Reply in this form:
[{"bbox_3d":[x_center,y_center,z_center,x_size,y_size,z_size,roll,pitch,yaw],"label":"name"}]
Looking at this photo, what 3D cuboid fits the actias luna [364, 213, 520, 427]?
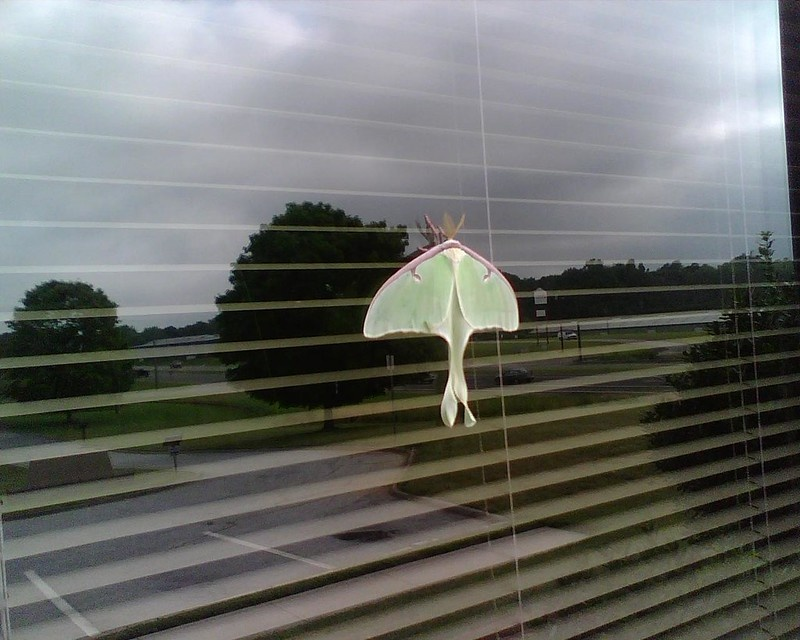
[{"bbox_3d":[0.116,-0.005,1.663,0.410,0.479,0.158,-5,1,-40],"label":"actias luna"}]
